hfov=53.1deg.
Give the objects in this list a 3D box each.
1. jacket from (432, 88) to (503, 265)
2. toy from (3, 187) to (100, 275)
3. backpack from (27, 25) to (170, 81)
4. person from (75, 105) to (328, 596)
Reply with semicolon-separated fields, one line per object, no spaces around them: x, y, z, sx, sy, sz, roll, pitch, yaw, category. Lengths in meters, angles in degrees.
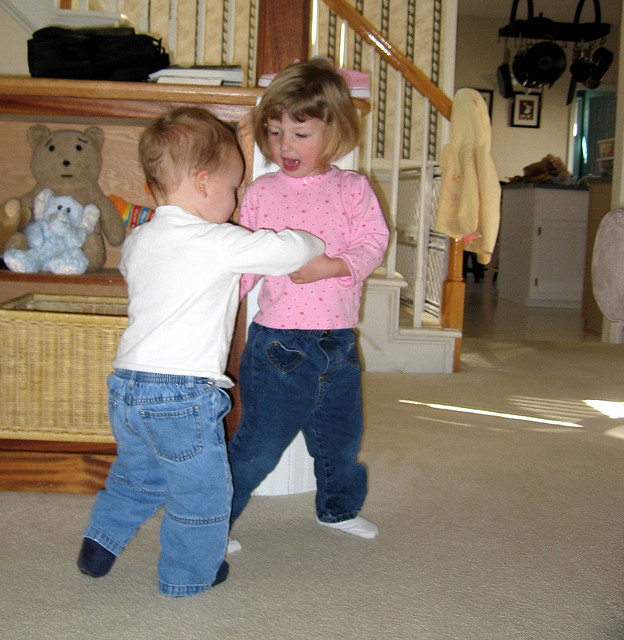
0.722;-0.633;2.756;0.279;0.731;0.323;-10;27;-13;jacket
-0.657;-0.234;1.598;0.210;0.218;0.225;1;10;-13;toy
-0.523;-0.663;1.553;0.330;0.166;0.181;-1;10;-18;backpack
-0.194;0.053;1.096;0.338;0.833;0.240;8;12;19;person
